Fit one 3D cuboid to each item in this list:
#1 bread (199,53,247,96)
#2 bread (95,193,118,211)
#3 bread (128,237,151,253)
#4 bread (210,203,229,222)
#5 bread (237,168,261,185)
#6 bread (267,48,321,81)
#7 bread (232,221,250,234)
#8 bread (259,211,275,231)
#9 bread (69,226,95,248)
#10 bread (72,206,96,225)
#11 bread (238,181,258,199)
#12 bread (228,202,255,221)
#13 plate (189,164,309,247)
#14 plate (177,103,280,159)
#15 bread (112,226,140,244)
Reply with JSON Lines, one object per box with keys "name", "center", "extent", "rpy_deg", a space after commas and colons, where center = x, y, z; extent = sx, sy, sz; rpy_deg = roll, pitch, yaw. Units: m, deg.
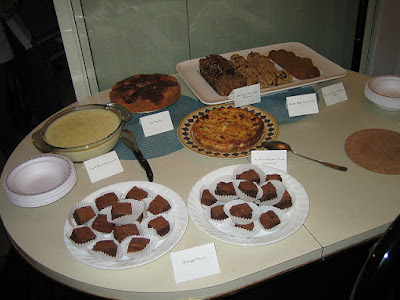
{"name": "bread", "center": [0.138, -0.543, 2.248], "extent": [0.238, 0.128, 0.385], "rpy_deg": [-15, 43, -14]}
{"name": "bread", "center": [-0.446, 0.248, 1.482], "extent": [0.094, 0.022, 0.068], "rpy_deg": [-23, 48, -19]}
{"name": "bread", "center": [-0.258, 0.395, 1.302], "extent": [0.083, 0.016, 0.072], "rpy_deg": [0, 43, 11]}
{"name": "bread", "center": [0.088, 0.279, 1.404], "extent": [0.065, 0.032, 0.065], "rpy_deg": [-2, 7, -2]}
{"name": "bread", "center": [0.248, 0.127, 1.525], "extent": [0.092, 0.045, 0.067], "rpy_deg": [-15, 40, -13]}
{"name": "bread", "center": [0.698, -0.632, 2.351], "extent": [0.196, 0.074, 0.374], "rpy_deg": [-27, 46, -13]}
{"name": "bread", "center": [0.187, 0.339, 1.365], "extent": [0.069, 0.021, 0.043], "rpy_deg": [-4, 43, 7]}
{"name": "bread", "center": [0.301, 0.307, 1.375], "extent": [0.068, 0.032, 0.067], "rpy_deg": [-23, 46, -15]}
{"name": "bread", "center": [-0.512, 0.370, 1.330], "extent": [0.086, 0.043, 0.087], "rpy_deg": [7, 30, 2]}
{"name": "bread", "center": [-0.535, 0.290, 1.414], "extent": [0.083, 0.037, 0.081], "rpy_deg": [-2, 40, -33]}
{"name": "bread", "center": [0.229, 0.176, 1.495], "extent": [0.079, 0.053, 0.077], "rpy_deg": [-4, 37, -22]}
{"name": "bread", "center": [0.189, 0.270, 1.385], "extent": [0.086, 0.040, 0.066], "rpy_deg": [-6, 33, -15]}
{"name": "plate", "center": [0.225, 0.242, 1.459], "extent": [0.566, 0.087, 0.446], "rpy_deg": [-6, 42, 4]}
{"name": "plate", "center": [0.198, -0.075, 1.766], "extent": [0.410, 0.047, 0.403], "rpy_deg": [-16, 43, -17]}
{"name": "bread", "center": [-0.327, 0.357, 1.368], "extent": [0.093, 0.045, 0.071], "rpy_deg": [-8, 39, -21]}
